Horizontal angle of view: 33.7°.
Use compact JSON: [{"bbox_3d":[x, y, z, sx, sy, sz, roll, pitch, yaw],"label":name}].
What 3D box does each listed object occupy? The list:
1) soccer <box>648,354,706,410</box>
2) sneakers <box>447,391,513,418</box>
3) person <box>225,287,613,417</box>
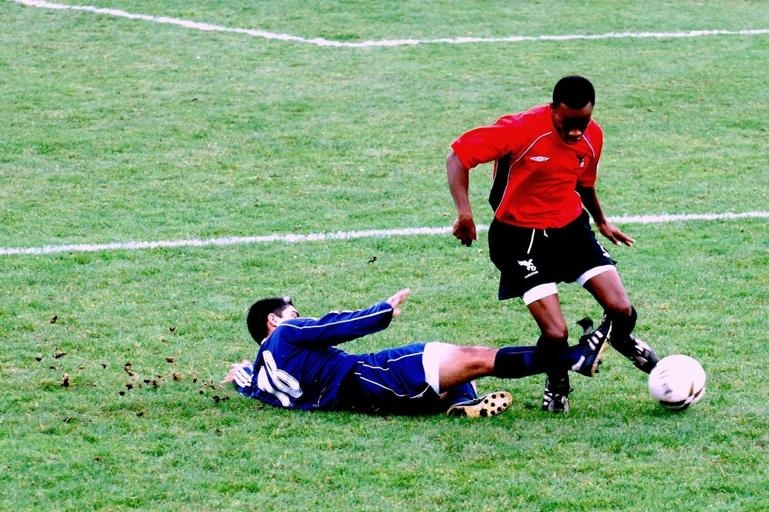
[{"bbox_3d":[2.502,1.063,10.887,0.496,0.464,0.452,-2,-23,10],"label":"soccer"},{"bbox_3d":[0.834,1.259,11.048,0.595,0.206,0.223,-7,-4,0],"label":"sneakers"},{"bbox_3d":[0.095,0.964,10.980,2.153,0.720,1.450,-1,13,-9],"label":"person"}]
